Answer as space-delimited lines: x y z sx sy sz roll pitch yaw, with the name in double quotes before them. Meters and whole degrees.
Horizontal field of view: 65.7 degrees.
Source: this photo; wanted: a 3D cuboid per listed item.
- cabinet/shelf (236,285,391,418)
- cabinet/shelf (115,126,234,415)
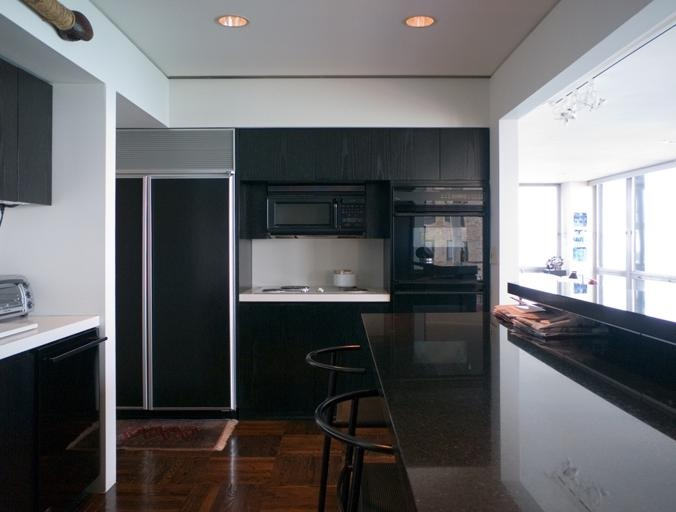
"cabinet/shelf" -0.170 0.755 4.518 1.495 1.330 0.834 0 -1 -1
"cabinet/shelf" -1.256 0.108 4.090 0.930 2.164 0.391 -1 9 -2
